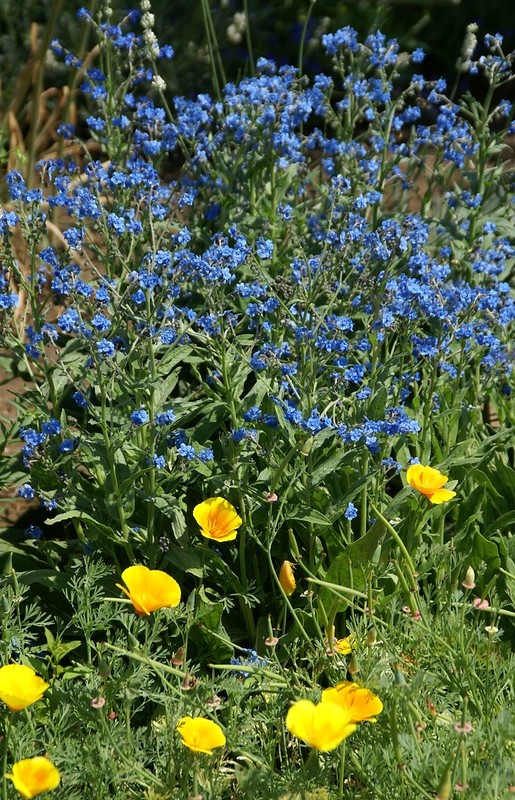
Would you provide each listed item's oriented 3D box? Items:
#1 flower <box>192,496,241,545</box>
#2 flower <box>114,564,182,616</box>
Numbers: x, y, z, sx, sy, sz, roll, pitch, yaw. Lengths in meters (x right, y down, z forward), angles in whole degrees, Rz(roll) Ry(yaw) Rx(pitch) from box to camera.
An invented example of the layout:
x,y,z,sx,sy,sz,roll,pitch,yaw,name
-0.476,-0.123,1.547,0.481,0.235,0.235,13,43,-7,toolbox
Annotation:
x,y,z,sx,sy,sz,roll,pitch,yaw,name
-0.080,0.231,1.494,0.085,0.042,0.079,39,47,-5,flower
-0.164,0.296,1.217,0.087,0.040,0.080,19,32,13,flower
